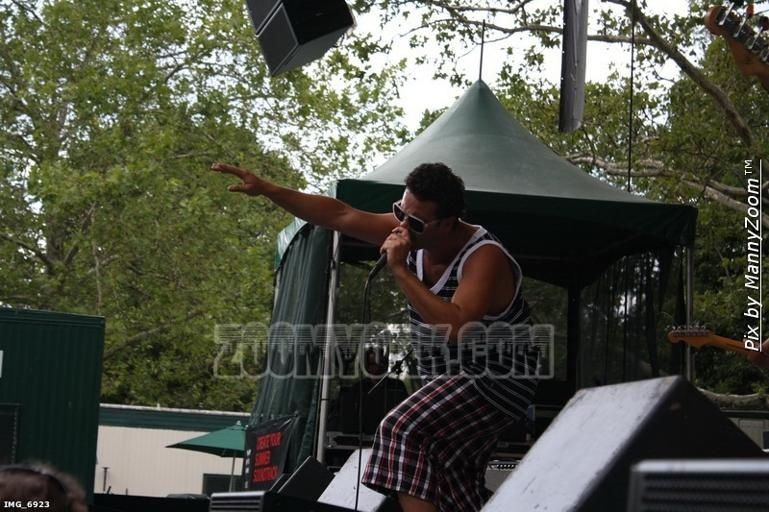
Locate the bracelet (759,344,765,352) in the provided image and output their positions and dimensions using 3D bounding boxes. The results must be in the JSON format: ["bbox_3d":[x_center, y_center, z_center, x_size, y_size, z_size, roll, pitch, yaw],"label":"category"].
[{"bbox_3d":[5.135,1.277,11.300,0.056,0.048,0.058,-3,-5,10],"label":"bracelet"}]

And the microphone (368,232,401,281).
[{"bbox_3d":[-0.004,0.011,9.670,0.095,0.652,0.105,38,5,37],"label":"microphone"}]
